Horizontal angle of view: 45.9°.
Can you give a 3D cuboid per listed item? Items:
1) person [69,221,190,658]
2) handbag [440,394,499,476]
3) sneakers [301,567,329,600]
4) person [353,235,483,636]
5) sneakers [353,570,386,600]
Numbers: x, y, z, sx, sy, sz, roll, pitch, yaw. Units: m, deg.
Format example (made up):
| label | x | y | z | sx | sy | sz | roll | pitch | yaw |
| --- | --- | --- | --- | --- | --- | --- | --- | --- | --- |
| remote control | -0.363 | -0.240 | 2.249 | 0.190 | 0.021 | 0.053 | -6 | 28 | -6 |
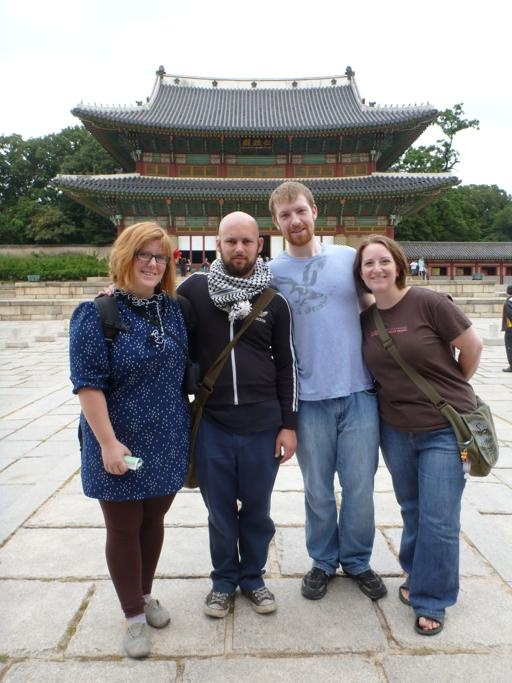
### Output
| label | x | y | z | sx | sy | sz | roll | pitch | yaw |
| --- | --- | --- | --- | --- | --- | --- | --- | --- | --- |
| person | -0.427 | 0.291 | 2.043 | 0.356 | 1.393 | 0.430 | 0 | 7 | 5 |
| handbag | 0.776 | 0.324 | 2.147 | 0.120 | 0.274 | 0.239 | -7 | 16 | 37 |
| sneakers | 0.227 | 0.924 | 2.304 | 0.103 | 0.078 | 0.120 | 1 | 6 | 7 |
| person | 0.622 | 0.290 | 2.220 | 0.390 | 1.349 | 0.529 | -2 | 7 | -10 |
| sneakers | 0.432 | 0.922 | 2.288 | 0.058 | 0.046 | 0.122 | -7 | 1 | -25 |
